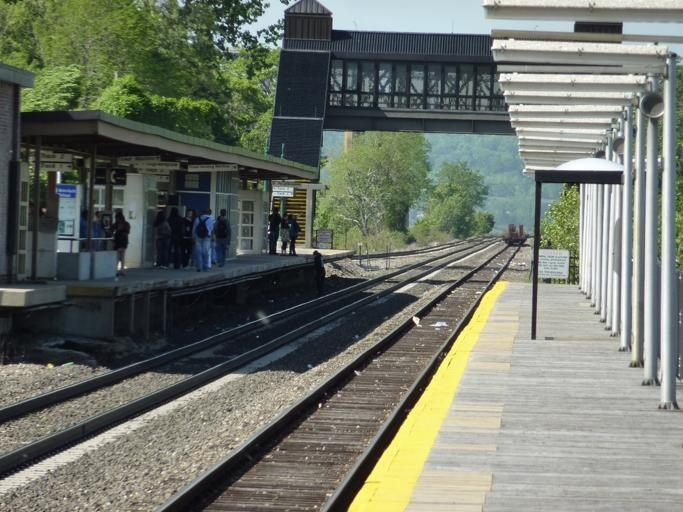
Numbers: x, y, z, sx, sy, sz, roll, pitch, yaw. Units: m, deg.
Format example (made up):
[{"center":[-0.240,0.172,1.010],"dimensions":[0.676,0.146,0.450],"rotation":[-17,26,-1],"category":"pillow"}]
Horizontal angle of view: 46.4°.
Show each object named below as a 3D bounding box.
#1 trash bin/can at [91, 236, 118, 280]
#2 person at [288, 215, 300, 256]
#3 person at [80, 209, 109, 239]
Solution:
[{"center":[-6.067,0.181,20.352],"dimensions":[0.332,0.573,1.248],"rotation":[-6,5,6],"category":"trash bin/can"},{"center":[-2.032,-0.898,33.602],"dimensions":[0.491,1.661,1.573],"rotation":[-7,6,-5],"category":"person"},{"center":[-7.067,-0.948,22.656],"dimensions":[0.682,0.854,1.467],"rotation":[-11,7,-38],"category":"person"}]
